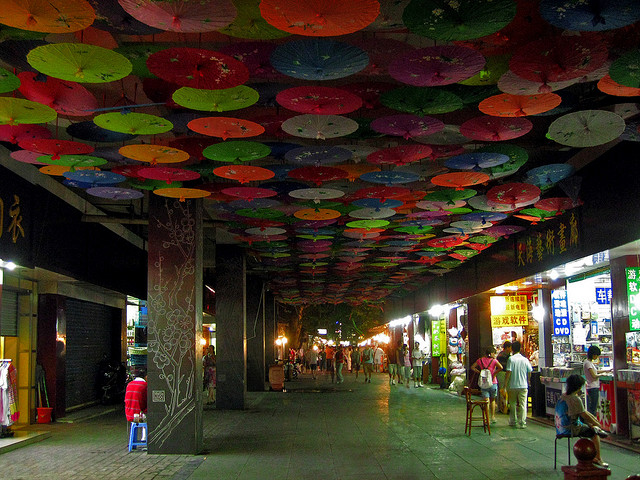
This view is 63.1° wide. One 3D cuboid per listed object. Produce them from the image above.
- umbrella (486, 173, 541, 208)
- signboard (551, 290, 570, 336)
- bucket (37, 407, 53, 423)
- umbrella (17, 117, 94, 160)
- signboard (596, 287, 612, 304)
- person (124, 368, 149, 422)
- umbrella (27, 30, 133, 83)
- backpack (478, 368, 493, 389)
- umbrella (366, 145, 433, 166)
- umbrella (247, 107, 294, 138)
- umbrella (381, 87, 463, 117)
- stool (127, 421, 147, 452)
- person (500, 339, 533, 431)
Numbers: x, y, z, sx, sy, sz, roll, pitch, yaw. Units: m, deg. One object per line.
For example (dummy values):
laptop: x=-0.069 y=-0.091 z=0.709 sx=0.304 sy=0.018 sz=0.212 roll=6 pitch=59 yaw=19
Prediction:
umbrella: x=3.663 y=-0.872 z=9.813 sx=0.745 sy=0.413 sz=0.676 roll=0 pitch=-23 yaw=2
signboard: x=6.476 y=1.928 z=14.041 sx=0.432 sy=1.212 sz=0.216 roll=-7 pitch=-18 yaw=28
bucket: x=-7.255 y=4.551 z=13.633 sx=0.430 sy=0.285 sz=0.392 roll=1 pitch=-8 yaw=0
umbrella: x=-3.984 y=-1.652 z=7.744 sx=0.857 sy=0.729 sz=0.791 roll=16 pitch=5 yaw=-16
signboard: x=7.201 y=1.415 z=13.268 sx=0.331 sy=0.416 sz=0.127 roll=-6 pitch=-18 yaw=24
person: x=-3.699 y=3.085 z=10.513 sx=0.452 sy=0.999 sz=0.572 roll=8 pitch=-17 yaw=-20
umbrella: x=-2.652 y=-1.979 z=5.692 sx=0.540 sy=0.469 sz=0.464 roll=-2 pitch=10 yaw=-8
backpack: x=3.824 y=3.188 z=12.041 sx=0.321 sy=0.462 sz=0.205 roll=-1 pitch=-16 yaw=8
umbrella: x=1.228 y=-1.352 z=8.112 sx=1.004 sy=0.232 sz=0.626 roll=-2 pitch=-15 yaw=10
umbrella: x=-0.718 y=-1.578 z=7.273 sx=0.564 sy=0.476 sz=0.497 roll=-1 pitch=-36 yaw=-3
umbrella: x=1.255 y=-1.815 z=6.517 sx=1.031 sy=0.293 sz=0.624 roll=1 pitch=-15 yaw=-1
stool: x=-3.702 y=3.921 z=10.524 sx=0.588 sy=0.480 sz=0.556 roll=-1 pitch=-8 yaw=-6
person: x=4.615 y=3.370 z=12.139 sx=0.584 sy=1.957 sz=0.813 roll=-4 pitch=-17 yaw=18
